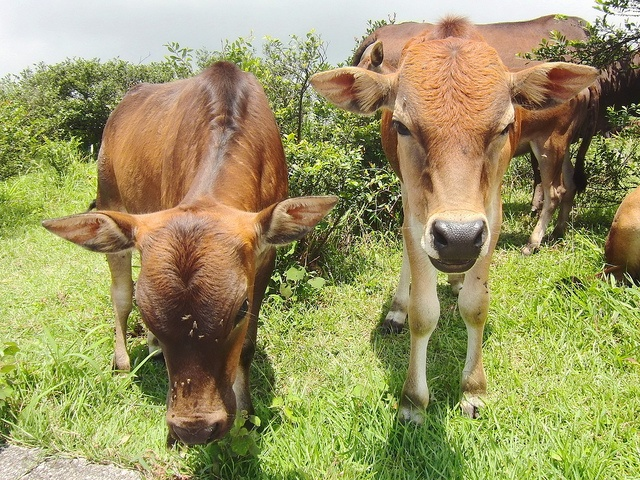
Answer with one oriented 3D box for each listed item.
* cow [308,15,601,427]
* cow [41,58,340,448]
[{"bbox_3d":[1.361,-0.299,6.196,1.965,3.847,4.491,0,15,9],"label":"cow"},{"bbox_3d":[-1.102,-0.097,4.763,1.740,2.769,2.252,-6,14,-25],"label":"cow"}]
